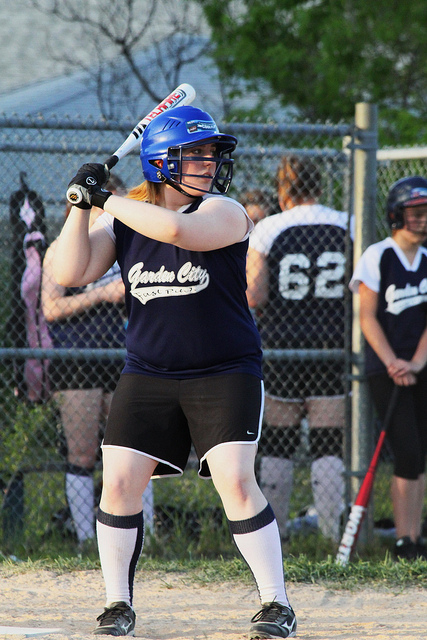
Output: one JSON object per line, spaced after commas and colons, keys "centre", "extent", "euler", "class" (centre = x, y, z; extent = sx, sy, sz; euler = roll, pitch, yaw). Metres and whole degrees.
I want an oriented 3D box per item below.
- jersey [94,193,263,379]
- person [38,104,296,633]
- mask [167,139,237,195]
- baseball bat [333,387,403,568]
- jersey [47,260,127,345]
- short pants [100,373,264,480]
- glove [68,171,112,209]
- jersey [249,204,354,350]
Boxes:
{"centre": [-0.115, -0.098, 2.993], "extent": [0.547, 0.628, 0.373], "euler": [-6, -6, 16], "class": "jersey"}
{"centre": [-0.155, 0.151, 2.883], "extent": [0.676, 1.688, 0.676], "euler": [-4, 11, -10], "class": "person"}
{"centre": [-0.063, -0.515, 2.940], "extent": [0.214, 0.170, 0.177], "euler": [-12, -18, 44], "class": "mask"}
{"centre": [0.702, 0.659, 3.810], "extent": [0.131, 0.916, 0.118], "euler": [14, 26, 5], "class": "baseball bat"}
{"centre": [-0.581, -0.069, 3.953], "extent": [0.393, 0.331, 0.010], "euler": [9, -6, 9], "class": "jersey"}
{"centre": [-0.083, 0.327, 2.862], "extent": [0.580, 0.328, 0.197], "euler": [-6, -13, 24], "class": "short pants"}
{"centre": [-0.397, -0.400, 2.851], "extent": [0.138, 0.063, 0.099], "euler": [32, 33, -17], "class": "glove"}
{"centre": [0.435, -0.204, 4.214], "extent": [0.704, 0.825, 0.438], "euler": [0, 7, -6], "class": "jersey"}
